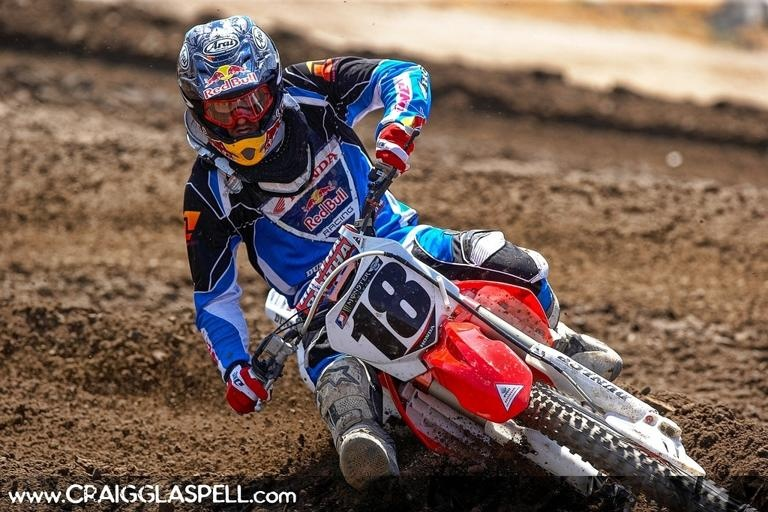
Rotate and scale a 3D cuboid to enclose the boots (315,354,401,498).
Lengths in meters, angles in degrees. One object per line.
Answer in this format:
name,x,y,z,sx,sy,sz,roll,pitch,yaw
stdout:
boots,-0.255,1.390,8.425,0.505,0.491,1.116,25,36,-57
